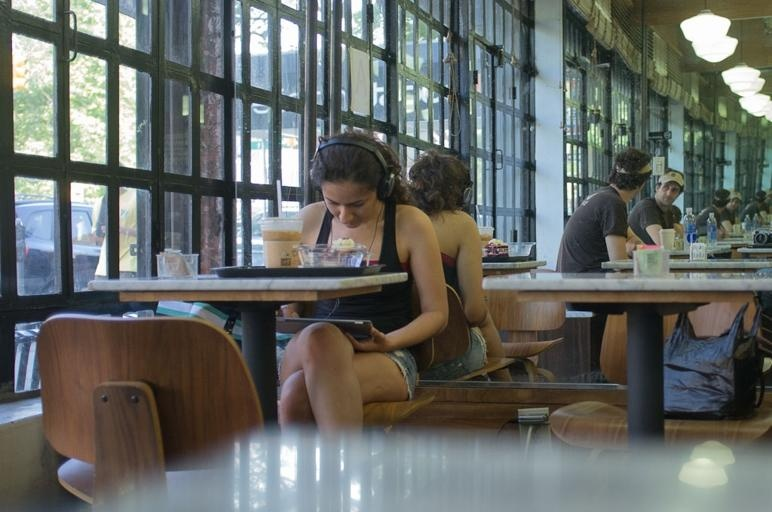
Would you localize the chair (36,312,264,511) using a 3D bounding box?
[{"bbox_3d":[-0.637,0.360,2.273,0.567,0.494,0.525,1,3,11],"label":"chair"}]

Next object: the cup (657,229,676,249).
[{"bbox_3d":[1.841,-0.112,5.105,0.072,0.145,0.318,3,6,24],"label":"cup"}]

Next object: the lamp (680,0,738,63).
[{"bbox_3d":[3.756,-2.727,9.103,0.599,0.661,1.079,0,-2,20],"label":"lamp"}]

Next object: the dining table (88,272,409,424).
[{"bbox_3d":[-0.451,0.158,2.578,0.672,0.676,0.693,-1,-5,11],"label":"dining table"}]

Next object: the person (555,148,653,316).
[{"bbox_3d":[1.671,-0.053,5.561,0.738,1.367,0.608,-3,13,-4],"label":"person"}]

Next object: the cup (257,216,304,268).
[{"bbox_3d":[-0.364,-0.053,2.831,0.162,0.179,0.161,-1,-8,0],"label":"cup"}]

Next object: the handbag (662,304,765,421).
[{"bbox_3d":[1.124,0.391,2.788,0.412,0.433,0.299,0,-3,26],"label":"handbag"}]

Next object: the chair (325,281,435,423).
[{"bbox_3d":[-0.034,0.336,2.805,0.189,0.535,0.384,5,-1,-25],"label":"chair"}]

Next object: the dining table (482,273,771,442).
[{"bbox_3d":[0.970,0.263,2.858,0.643,0.651,0.665,-1,-3,22],"label":"dining table"}]

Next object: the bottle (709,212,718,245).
[{"bbox_3d":[2.637,-0.228,6.317,0.050,0.233,0.148,1,6,12],"label":"bottle"}]

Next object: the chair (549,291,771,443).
[{"bbox_3d":[0.919,0.419,2.689,0.729,0.560,0.507,1,-5,13],"label":"chair"}]

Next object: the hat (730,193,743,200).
[{"bbox_3d":[5.622,-0.979,12.559,0.199,0.110,0.280,1,1,-1],"label":"hat"}]

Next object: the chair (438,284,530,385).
[{"bbox_3d":[0.424,0.339,3.485,0.325,0.493,0.422,-16,3,-19],"label":"chair"}]

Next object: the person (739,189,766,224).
[{"bbox_3d":[5.739,-0.804,12.107,0.299,0.435,1.165,3,6,26],"label":"person"}]

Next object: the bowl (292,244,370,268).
[{"bbox_3d":[-0.186,-0.004,2.705,0.237,0.071,0.085,0,6,-4],"label":"bowl"}]
